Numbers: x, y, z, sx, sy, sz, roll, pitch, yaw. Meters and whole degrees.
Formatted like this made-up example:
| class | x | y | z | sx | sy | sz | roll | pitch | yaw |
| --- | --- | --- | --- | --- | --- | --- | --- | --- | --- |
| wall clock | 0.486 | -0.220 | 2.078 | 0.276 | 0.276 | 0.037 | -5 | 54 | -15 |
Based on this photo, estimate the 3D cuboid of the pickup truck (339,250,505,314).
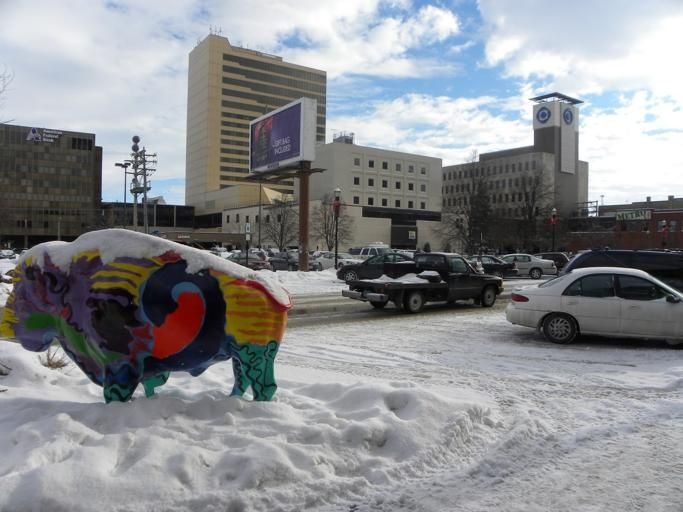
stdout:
| class | x | y | z | sx | sy | sz | roll | pitch | yaw |
| --- | --- | --- | --- | --- | --- | --- | --- | --- | --- |
| pickup truck | 2.435 | 0.791 | 16.804 | 3.721 | 1.339 | 2.004 | -2 | 3 | -31 |
